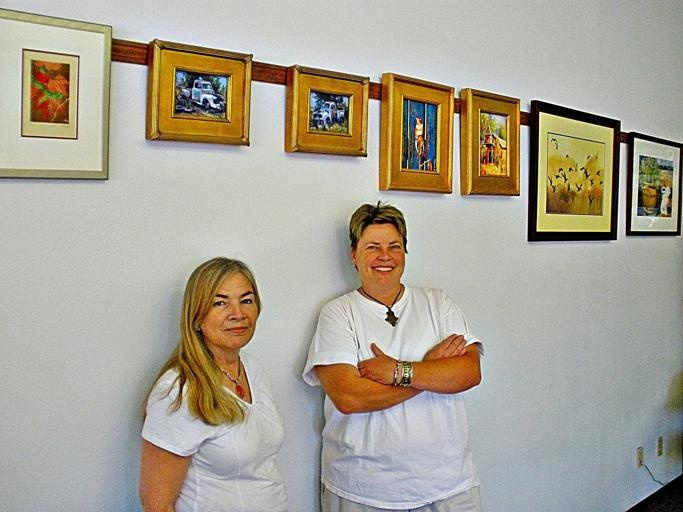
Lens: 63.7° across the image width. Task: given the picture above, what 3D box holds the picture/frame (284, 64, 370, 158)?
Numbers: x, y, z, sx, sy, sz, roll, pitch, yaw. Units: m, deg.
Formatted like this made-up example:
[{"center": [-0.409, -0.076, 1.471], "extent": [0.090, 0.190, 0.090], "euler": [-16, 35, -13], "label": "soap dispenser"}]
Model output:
[{"center": [-0.083, -0.639, 2.423], "extent": [0.402, 0.384, 0.042], "euler": [-1, 3, -33], "label": "picture/frame"}]

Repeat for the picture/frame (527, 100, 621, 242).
[{"center": [1.419, -0.530, 3.416], "extent": [0.864, 0.790, 0.071], "euler": [1, 0, -40], "label": "picture/frame"}]

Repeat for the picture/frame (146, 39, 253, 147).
[{"center": [-0.572, -0.635, 2.136], "extent": [0.412, 0.401, 0.055], "euler": [0, 3, -34], "label": "picture/frame"}]

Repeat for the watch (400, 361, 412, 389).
[{"center": [0.267, 0.491, 2.314], "extent": [0.072, 0.082, 0.078], "euler": [-2, -17, 6], "label": "watch"}]

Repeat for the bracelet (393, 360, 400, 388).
[{"center": [0.229, 0.486, 2.262], "extent": [0.026, 0.076, 0.054], "euler": [4, 7, 8], "label": "bracelet"}]

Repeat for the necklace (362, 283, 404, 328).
[{"center": [0.190, 0.222, 2.461], "extent": [0.118, 0.204, 0.008], "euler": [-26, 2, -18], "label": "necklace"}]

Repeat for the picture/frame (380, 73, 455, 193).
[{"center": [0.354, -0.600, 2.695], "extent": [0.561, 0.732, 0.073], "euler": [2, -1, -36], "label": "picture/frame"}]

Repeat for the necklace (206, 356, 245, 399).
[{"center": [-0.430, 0.468, 2.120], "extent": [0.081, 0.145, 0.019], "euler": [-20, -12, -48], "label": "necklace"}]

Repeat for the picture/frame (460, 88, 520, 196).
[{"center": [0.785, -0.617, 2.963], "extent": [0.558, 0.723, 0.070], "euler": [1, -1, -41], "label": "picture/frame"}]
